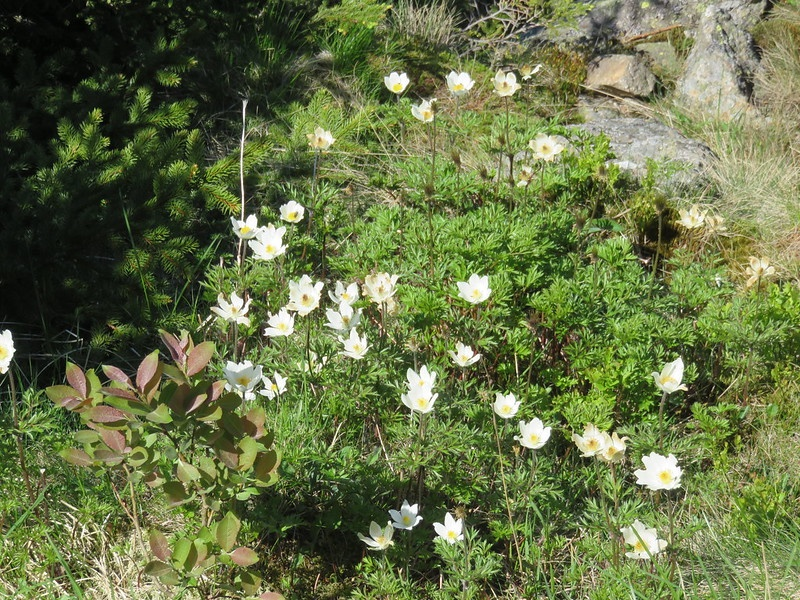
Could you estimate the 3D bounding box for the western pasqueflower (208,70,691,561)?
[{"bbox_3d":[0.490,0.279,4.321,2.322,1.826,2.492,5,68,5],"label":"western pasqueflower"}]
